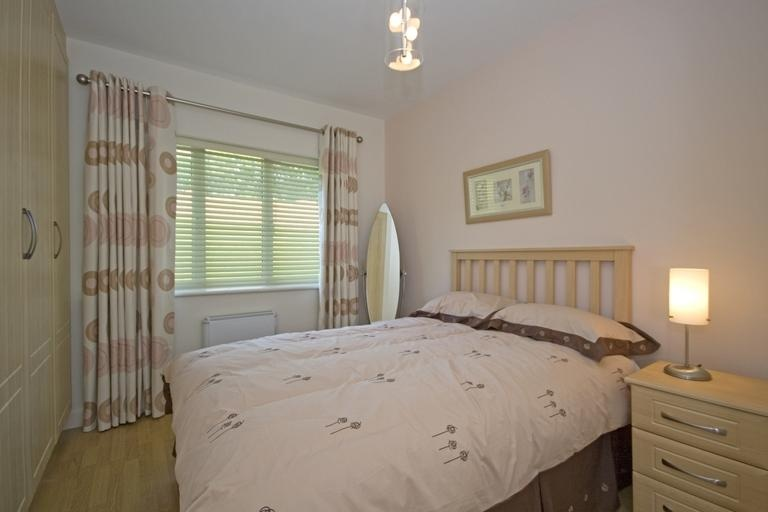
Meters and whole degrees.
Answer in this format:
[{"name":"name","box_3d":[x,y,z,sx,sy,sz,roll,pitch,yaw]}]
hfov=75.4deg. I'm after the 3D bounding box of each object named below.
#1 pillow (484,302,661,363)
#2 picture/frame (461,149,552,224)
[{"name":"pillow","box_3d":[1.308,0.514,3.688,0.487,0.183,0.738,-1,3,-37]},{"name":"picture/frame","box_3d":[1.114,-0.618,4.375,0.029,0.447,0.732,-3,0,-40]}]
